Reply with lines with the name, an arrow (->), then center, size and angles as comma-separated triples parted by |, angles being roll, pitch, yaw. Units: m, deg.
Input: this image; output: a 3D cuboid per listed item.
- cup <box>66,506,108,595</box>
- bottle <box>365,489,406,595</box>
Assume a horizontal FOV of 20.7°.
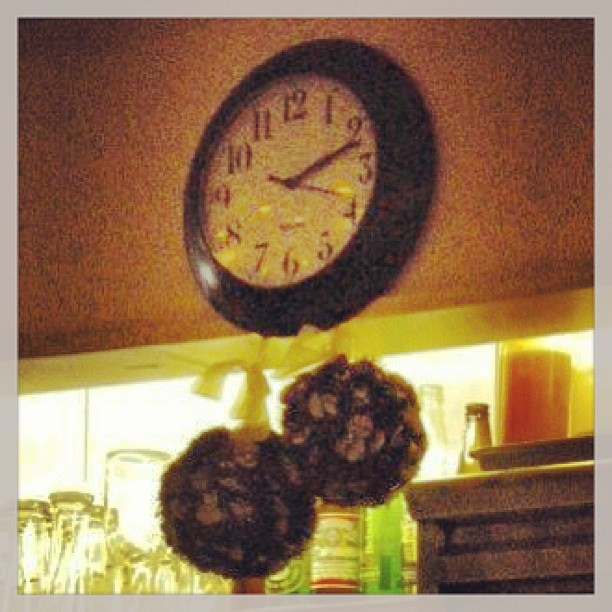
cup -> -0.483, 0.538, 3.679 | 0.085, 0.184, 0.041 | 1, -8, -8
bottle -> 0.175, 0.523, 3.694 | 0.095, 0.269, 0.022 | 1, -38, 1
